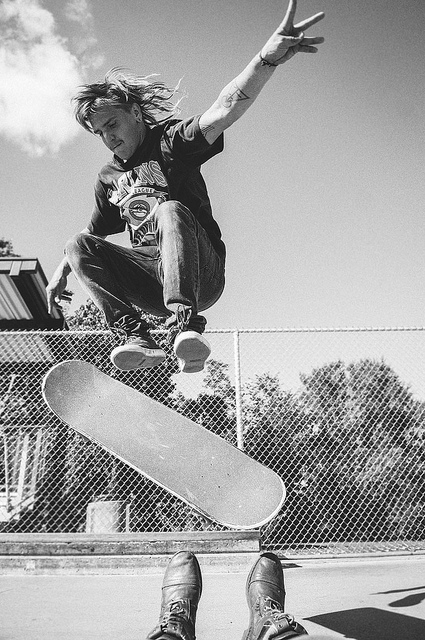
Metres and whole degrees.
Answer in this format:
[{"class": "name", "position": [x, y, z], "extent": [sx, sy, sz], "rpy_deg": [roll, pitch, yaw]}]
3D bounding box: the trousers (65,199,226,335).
[{"class": "trousers", "position": [-0.440, -0.372, 5.674], "extent": [0.624, 0.673, 1.134], "rpy_deg": [-34, 11, 7]}]

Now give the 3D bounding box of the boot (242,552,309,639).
[{"class": "boot", "position": [0.389, 1.705, 5.144], "extent": [0.199, 0.269, 0.625], "rpy_deg": [30, 38, -6]}]

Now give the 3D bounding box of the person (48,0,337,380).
[{"class": "person", "position": [-0.312, -0.732, 5.683], "extent": [1.341, 2.443, 0.849], "rpy_deg": [6, 0, 5]}]
